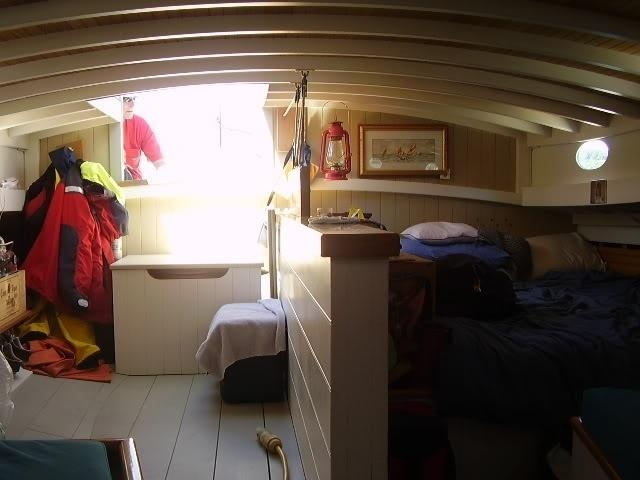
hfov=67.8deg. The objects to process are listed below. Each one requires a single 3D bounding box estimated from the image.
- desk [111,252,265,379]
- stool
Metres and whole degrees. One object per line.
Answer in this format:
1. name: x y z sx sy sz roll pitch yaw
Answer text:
1. desk: -1.139 0.605 4.435 1.212 0.955 0.712 -2 7 -9
2. stool: -0.495 0.912 3.630 0.514 0.625 0.309 -5 15 -25
